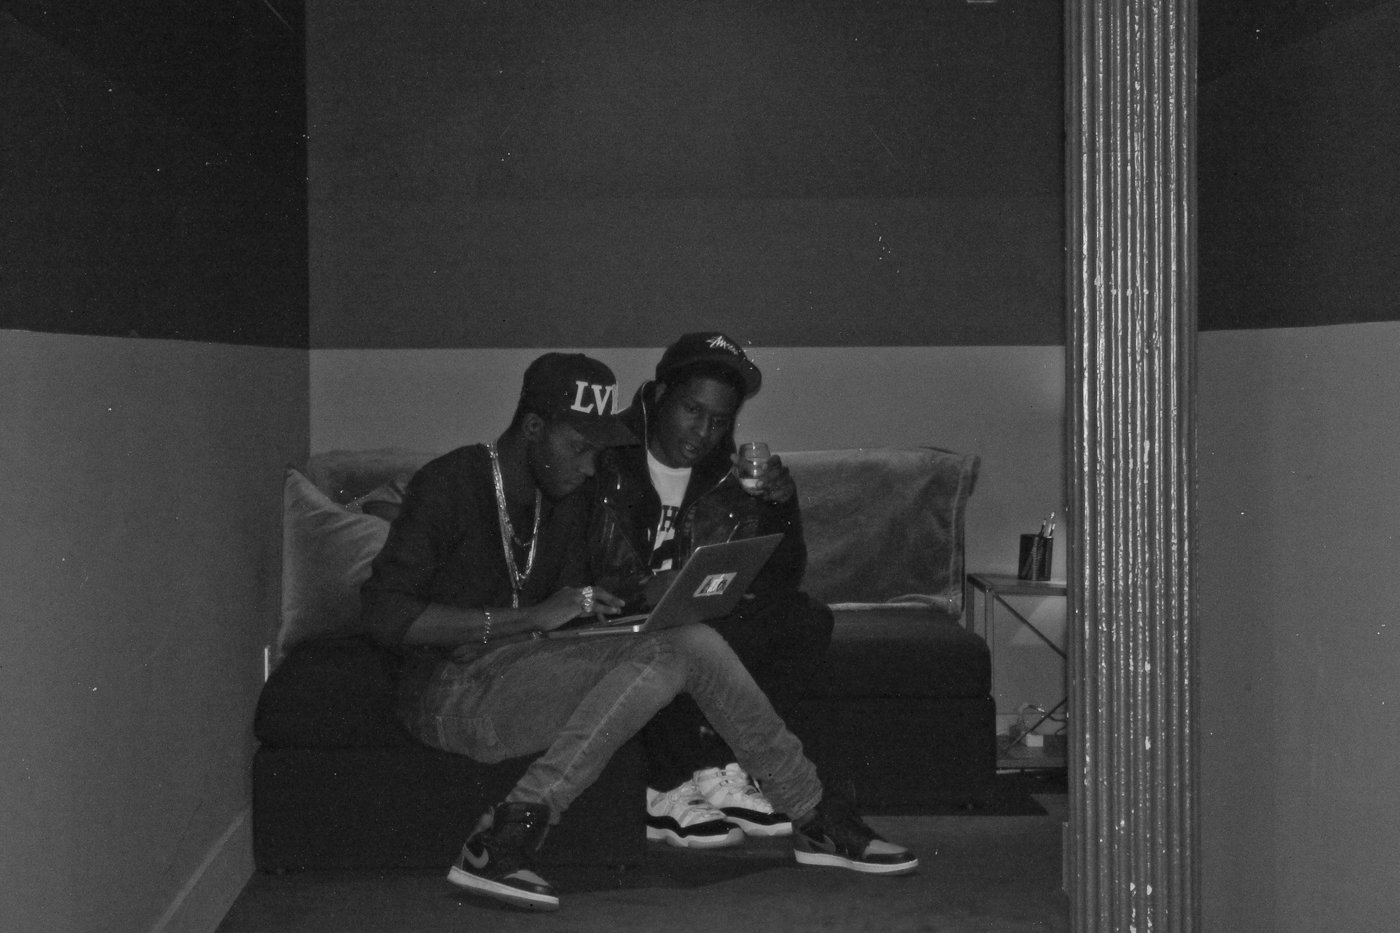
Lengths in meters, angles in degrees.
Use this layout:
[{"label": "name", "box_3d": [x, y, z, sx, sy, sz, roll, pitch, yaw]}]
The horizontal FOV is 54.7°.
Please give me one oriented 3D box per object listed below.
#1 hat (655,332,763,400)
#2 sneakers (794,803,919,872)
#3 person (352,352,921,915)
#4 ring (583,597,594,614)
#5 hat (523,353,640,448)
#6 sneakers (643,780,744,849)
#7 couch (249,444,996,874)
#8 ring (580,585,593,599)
[{"label": "hat", "box_3d": [0.031, -0.225, 2.855, 0.129, 0.086, 0.172, 13, -22, -34]}, {"label": "sneakers", "box_3d": [0.309, 0.805, 2.948, 0.342, 0.152, 0.112, -1, 0, 6]}, {"label": "person", "box_3d": [-0.196, 0.302, 2.795, 1.159, 1.054, 0.831, 5, 1, 32]}, {"label": "ring", "box_3d": [-0.240, 0.297, 2.865, 0.021, 0.027, 0.008, 3, 2, 7]}, {"label": "hat", "box_3d": [-0.249, -0.139, 2.883, 0.222, 0.117, 0.159, 15, 8, 13]}, {"label": "sneakers", "box_3d": [-0.027, 0.747, 2.877, 0.239, 0.097, 0.090, 0, -3, 15]}, {"label": "couch", "box_3d": [-0.128, 0.362, 3.040, 1.622, 0.751, 0.757, -2, 7, -11]}, {"label": "ring", "box_3d": [-0.239, 0.267, 2.876, 0.018, 0.022, 0.013, -9, -39, -2]}]
